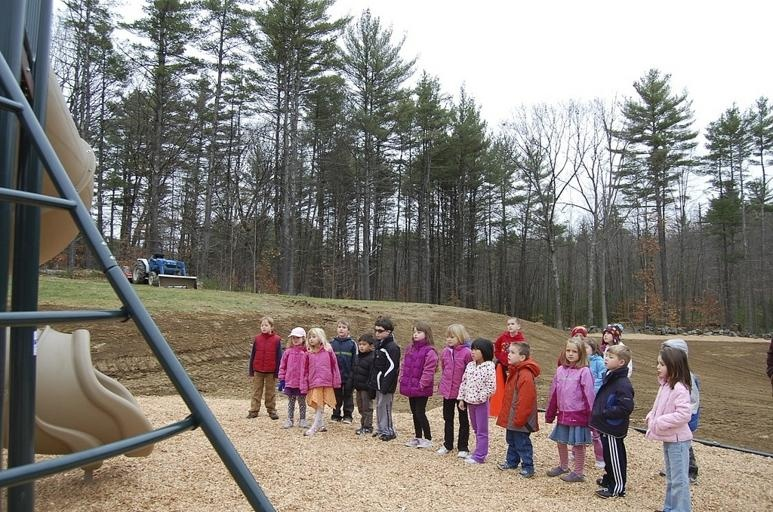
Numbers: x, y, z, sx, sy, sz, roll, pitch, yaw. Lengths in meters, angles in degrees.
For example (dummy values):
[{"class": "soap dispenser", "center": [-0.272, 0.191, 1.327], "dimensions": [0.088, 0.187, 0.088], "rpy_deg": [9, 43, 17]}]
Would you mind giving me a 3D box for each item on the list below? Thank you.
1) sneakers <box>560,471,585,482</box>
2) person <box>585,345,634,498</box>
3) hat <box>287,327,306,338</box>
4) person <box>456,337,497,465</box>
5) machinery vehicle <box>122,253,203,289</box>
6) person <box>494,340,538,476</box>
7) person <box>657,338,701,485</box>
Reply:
[{"class": "sneakers", "center": [3.591, 4.281, 13.617], "dimensions": [0.343, 0.147, 0.203], "rpy_deg": [1, -5, 7]}, {"class": "person", "center": [4.295, 3.121, 13.413], "dimensions": [0.792, 2.746, 0.811], "rpy_deg": [3, 7, 0]}, {"class": "hat", "center": [-1.914, 1.716, 15.661], "dimensions": [0.228, 0.182, 0.325], "rpy_deg": [-1, -8, 13]}, {"class": "person", "center": [1.801, 2.902, 14.263], "dimensions": [0.696, 2.409, 0.733], "rpy_deg": [7, 8, 26]}, {"class": "machinery vehicle", "center": [-8.846, 0.765, 28.513], "dimensions": [3.061, 1.281, 1.702], "rpy_deg": [-4, -6, 43]}, {"class": "person", "center": [2.645, 3.002, 14.044], "dimensions": [0.807, 2.446, 1.111], "rpy_deg": [3, 7, -1]}, {"class": "person", "center": [5.696, 3.102, 13.947], "dimensions": [1.068, 3.070, 1.075], "rpy_deg": [0, -33, 27]}]
